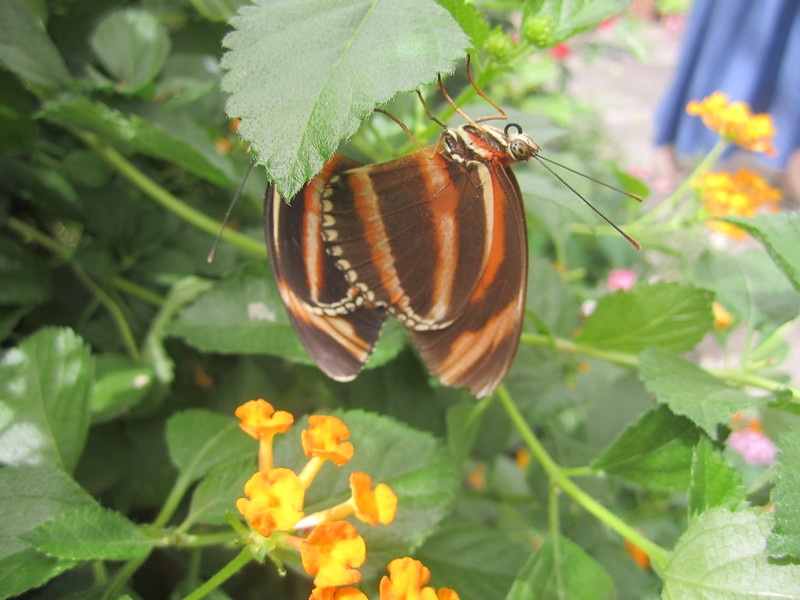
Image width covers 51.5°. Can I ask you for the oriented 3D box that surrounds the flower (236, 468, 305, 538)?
[{"bbox_3d":[-0.165,0.263,1.085,0.081,0.025,0.083,41,64,11],"label":"flower"}]

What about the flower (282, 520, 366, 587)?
[{"bbox_3d":[-0.091,0.359,1.135,0.088,0.162,0.077,-11,65,-14],"label":"flower"}]

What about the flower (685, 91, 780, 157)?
[{"bbox_3d":[0.553,-0.309,1.421,0.127,0.129,0.055,37,93,42],"label":"flower"}]

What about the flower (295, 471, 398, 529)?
[{"bbox_3d":[-0.061,0.275,1.160,0.157,0.063,0.066,-16,43,9],"label":"flower"}]

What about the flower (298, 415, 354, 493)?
[{"bbox_3d":[-0.104,0.224,1.183,0.062,0.103,0.058,37,36,-3],"label":"flower"}]
